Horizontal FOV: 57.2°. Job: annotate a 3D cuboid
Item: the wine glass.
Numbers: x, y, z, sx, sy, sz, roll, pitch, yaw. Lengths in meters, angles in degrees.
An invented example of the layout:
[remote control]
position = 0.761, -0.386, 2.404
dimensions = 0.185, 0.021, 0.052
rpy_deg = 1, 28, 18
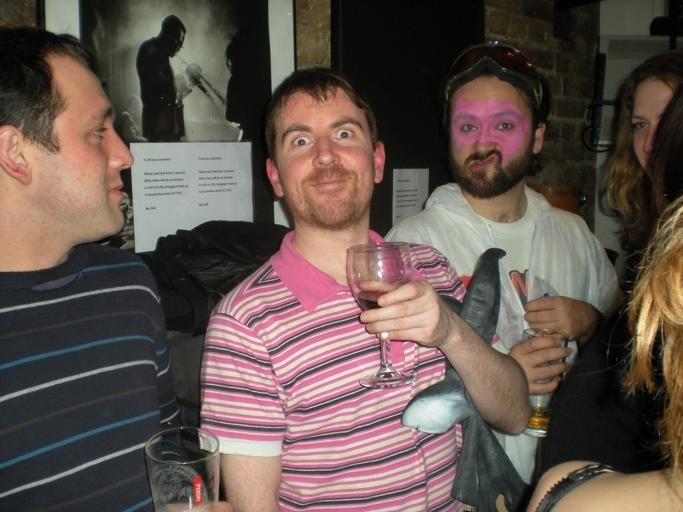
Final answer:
[wine glass]
position = 0.117, 0.187, 1.895
dimensions = 0.195, 0.448, 0.237
rpy_deg = -1, 12, 6
